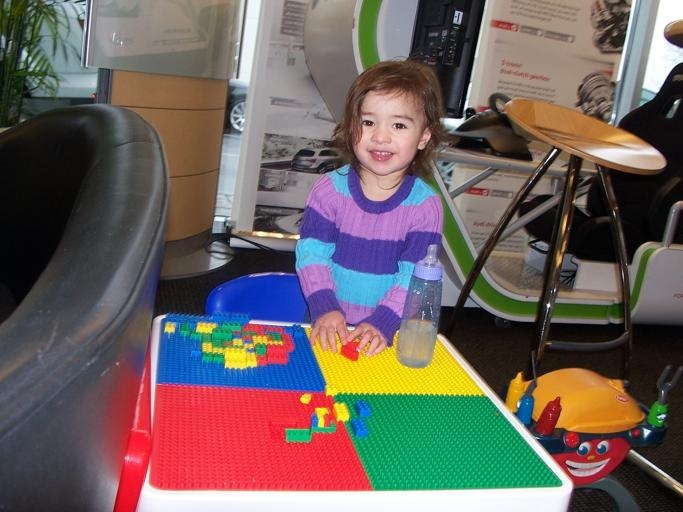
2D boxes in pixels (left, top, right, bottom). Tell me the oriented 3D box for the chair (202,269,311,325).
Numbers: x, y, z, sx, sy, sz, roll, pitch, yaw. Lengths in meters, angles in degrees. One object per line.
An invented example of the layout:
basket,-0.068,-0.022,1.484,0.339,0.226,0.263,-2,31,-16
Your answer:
chair,-0.263,0.129,1.484,0.223,0.213,0.267,-10,-14,8
